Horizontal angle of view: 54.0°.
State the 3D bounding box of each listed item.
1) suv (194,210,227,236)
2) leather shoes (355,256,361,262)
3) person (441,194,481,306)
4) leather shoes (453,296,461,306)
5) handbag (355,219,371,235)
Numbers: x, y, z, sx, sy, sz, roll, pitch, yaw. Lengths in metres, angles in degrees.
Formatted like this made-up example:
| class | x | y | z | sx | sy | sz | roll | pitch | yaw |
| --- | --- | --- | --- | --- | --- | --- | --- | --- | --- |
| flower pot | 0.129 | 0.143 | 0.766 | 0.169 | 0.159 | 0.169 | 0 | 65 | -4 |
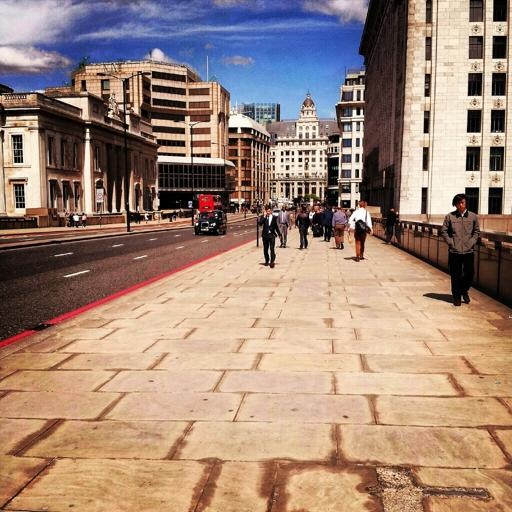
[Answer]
| class | x | y | z | sx | sy | sz | roll | pitch | yaw |
| --- | --- | --- | --- | --- | --- | --- | --- | --- | --- |
| suv | -3.606 | -2.625 | 40.683 | 2.214 | 1.865 | 2.648 | -1 | 8 | 2 |
| leather shoes | 3.681 | 0.119 | 18.337 | 0.158 | 0.296 | 0.202 | 2 | -3 | -23 |
| person | 3.895 | -0.105 | 9.655 | 0.653 | 2.129 | 0.589 | 2 | 9 | 23 |
| leather shoes | 3.791 | 0.845 | 9.591 | 0.138 | 0.167 | 0.142 | -1 | -7 | 1 |
| handbag | 3.813 | -1.056 | 18.218 | 0.566 | 0.442 | 0.838 | 3 | 18 | 13 |
